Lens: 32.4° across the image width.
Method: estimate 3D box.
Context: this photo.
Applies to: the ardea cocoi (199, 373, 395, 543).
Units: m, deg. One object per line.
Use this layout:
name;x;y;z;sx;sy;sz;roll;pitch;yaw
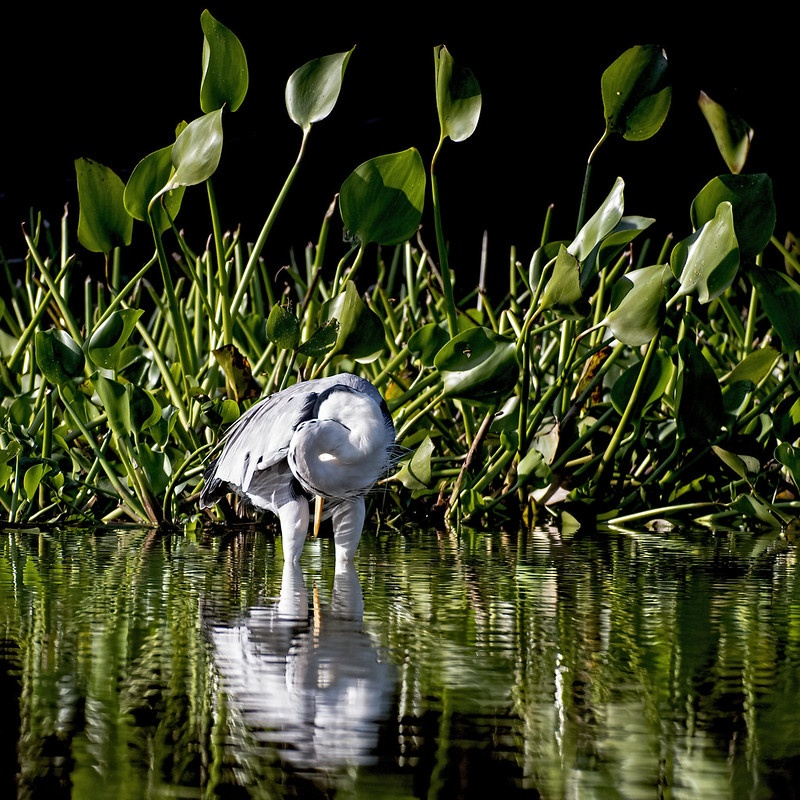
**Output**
ardea cocoi;-0.118;0.049;1.407;0.295;0.155;0.158;6;7;40
